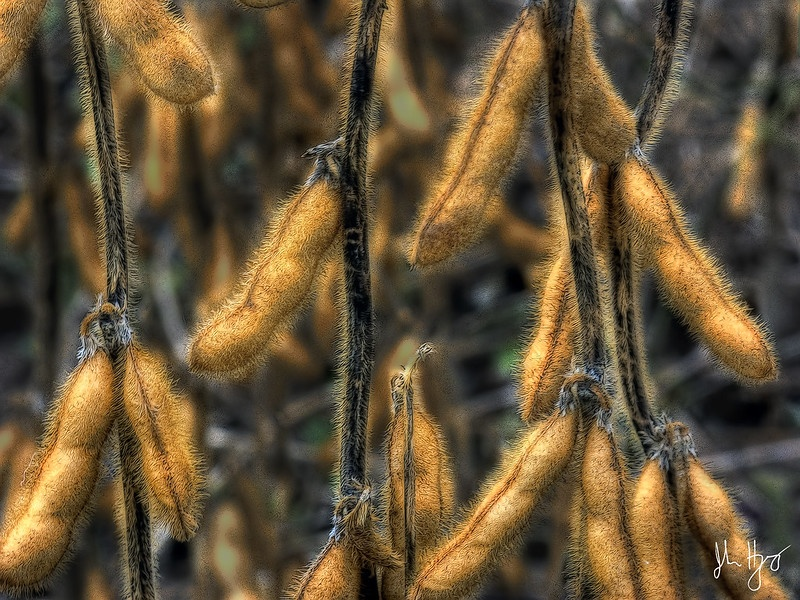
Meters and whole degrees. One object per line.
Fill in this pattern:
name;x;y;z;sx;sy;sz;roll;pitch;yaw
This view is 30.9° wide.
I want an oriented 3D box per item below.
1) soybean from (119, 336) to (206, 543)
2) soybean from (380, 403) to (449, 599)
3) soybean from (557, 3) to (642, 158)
soybean;-0.562;0.342;3.453;0.156;0.566;0.145;-20;-7;43
soybean;0.046;0.459;3.545;0.105;0.605;0.148;0;-2;-6
soybean;0.455;-0.463;3.356;0.101;0.451;0.104;-6;3;40
